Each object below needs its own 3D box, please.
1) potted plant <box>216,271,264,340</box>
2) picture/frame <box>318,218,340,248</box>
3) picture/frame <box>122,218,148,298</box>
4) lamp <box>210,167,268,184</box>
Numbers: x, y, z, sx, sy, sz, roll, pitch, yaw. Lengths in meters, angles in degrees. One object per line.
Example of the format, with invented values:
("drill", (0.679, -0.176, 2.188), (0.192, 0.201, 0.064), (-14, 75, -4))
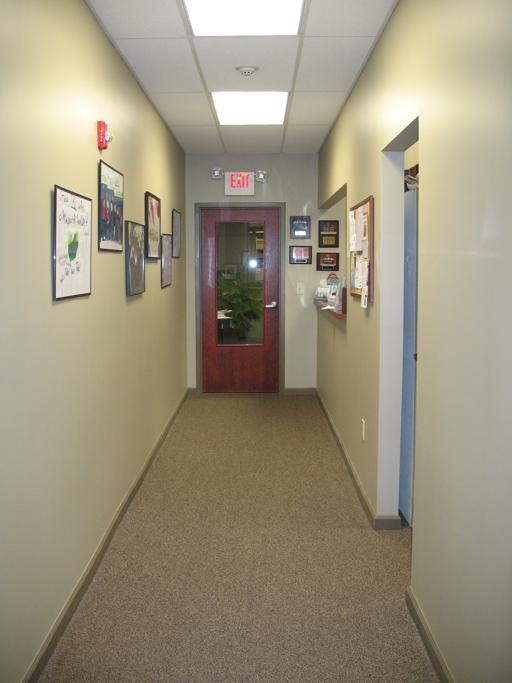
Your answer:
("potted plant", (-0.209, -0.394, 5.516), (0.433, 1.018, 0.614), (-4, 12, -16))
("picture/frame", (0.795, -1.219, 5.283), (0.185, 0.424, 0.024), (-1, 10, -7))
("picture/frame", (-0.729, -0.503, 2.901), (0.015, 0.446, 0.417), (-2, 7, -32))
("lamp", (-0.207, -1.836, 5.195), (0.607, 0.138, 0.127), (-1, 4, -6))
